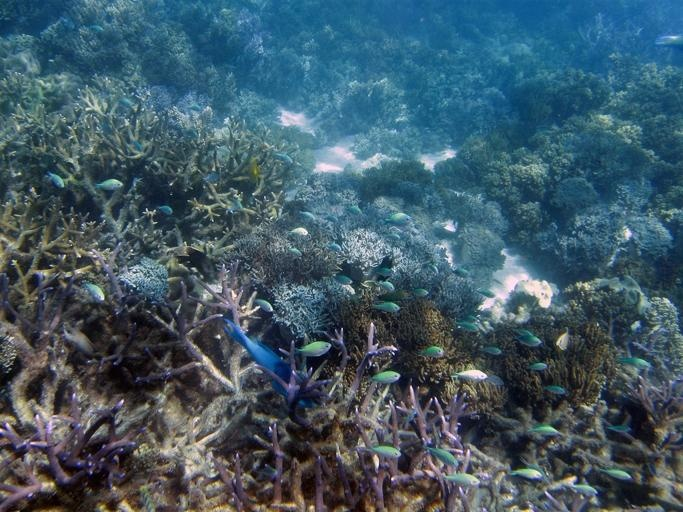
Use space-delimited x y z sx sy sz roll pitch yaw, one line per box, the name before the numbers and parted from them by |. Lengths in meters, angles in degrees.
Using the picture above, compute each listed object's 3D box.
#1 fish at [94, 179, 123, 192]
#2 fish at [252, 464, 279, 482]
fish | -6.620 -1.987 18.162 0.755 0.373 0.186 -2 35 1
fish | -1.909 5.318 15.850 0.518 0.225 0.313 6 44 5
